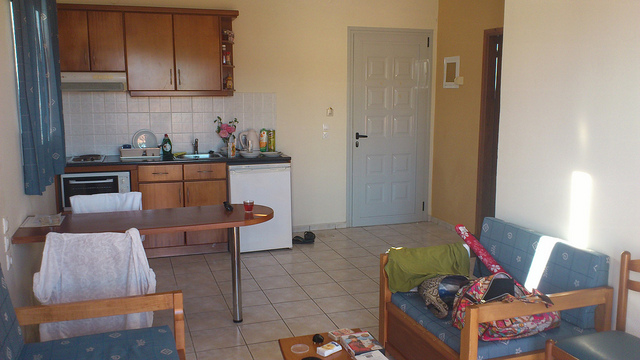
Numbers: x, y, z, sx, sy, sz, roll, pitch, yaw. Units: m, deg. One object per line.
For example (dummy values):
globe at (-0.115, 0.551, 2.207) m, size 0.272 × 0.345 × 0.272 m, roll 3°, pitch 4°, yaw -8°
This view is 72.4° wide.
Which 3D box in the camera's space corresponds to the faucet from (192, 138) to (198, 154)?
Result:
faucet at (-1.903, -0.512, 6.615) m, size 0.083 × 0.229 × 0.085 m, roll -6°, pitch 14°, yaw -18°

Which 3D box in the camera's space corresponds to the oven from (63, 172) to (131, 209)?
oven at (-3.026, 0.068, 5.839) m, size 0.974 × 0.527 × 0.583 m, roll -2°, pitch 3°, yaw -21°

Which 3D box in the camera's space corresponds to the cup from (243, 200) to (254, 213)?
cup at (-0.754, 0.275, 4.556) m, size 0.128 × 0.096 × 0.114 m, roll 4°, pitch 6°, yaw 25°

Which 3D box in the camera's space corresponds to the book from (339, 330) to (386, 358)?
book at (0.332, 1.358, 3.638) m, size 0.229 × 0.047 × 0.230 m, roll -4°, pitch 12°, yaw -20°

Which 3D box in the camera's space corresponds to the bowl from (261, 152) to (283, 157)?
bowl at (-0.736, -0.375, 6.438) m, size 0.287 × 0.064 × 0.147 m, roll -2°, pitch 12°, yaw -6°

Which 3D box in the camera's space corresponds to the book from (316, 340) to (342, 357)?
book at (0.070, 1.399, 3.628) m, size 0.219 × 0.052 × 0.117 m, roll -9°, pitch 14°, yaw -34°

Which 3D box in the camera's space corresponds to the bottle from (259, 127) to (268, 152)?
bottle at (-0.884, -0.622, 6.696) m, size 0.133 × 0.342 × 0.218 m, roll -3°, pitch 13°, yaw -7°

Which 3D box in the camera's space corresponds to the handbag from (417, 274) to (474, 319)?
handbag at (1.079, 1.109, 3.948) m, size 0.410 × 0.164 × 0.395 m, roll -30°, pitch 39°, yaw -18°
